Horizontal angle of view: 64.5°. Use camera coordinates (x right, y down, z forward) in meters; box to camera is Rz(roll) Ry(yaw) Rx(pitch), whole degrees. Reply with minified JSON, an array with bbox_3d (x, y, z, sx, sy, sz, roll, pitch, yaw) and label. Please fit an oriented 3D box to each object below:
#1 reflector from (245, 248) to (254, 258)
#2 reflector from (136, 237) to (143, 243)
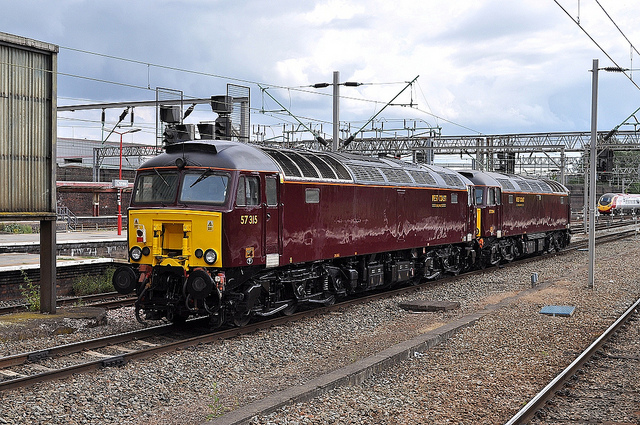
[{"bbox_3d":[-1.891,1.054,13.533,0.036,0.246,0.276,-1,0,33],"label":"reflector"},{"bbox_3d":[-4.862,0.713,13.770,0.118,0.096,0.123,-1,1,23],"label":"reflector"}]
